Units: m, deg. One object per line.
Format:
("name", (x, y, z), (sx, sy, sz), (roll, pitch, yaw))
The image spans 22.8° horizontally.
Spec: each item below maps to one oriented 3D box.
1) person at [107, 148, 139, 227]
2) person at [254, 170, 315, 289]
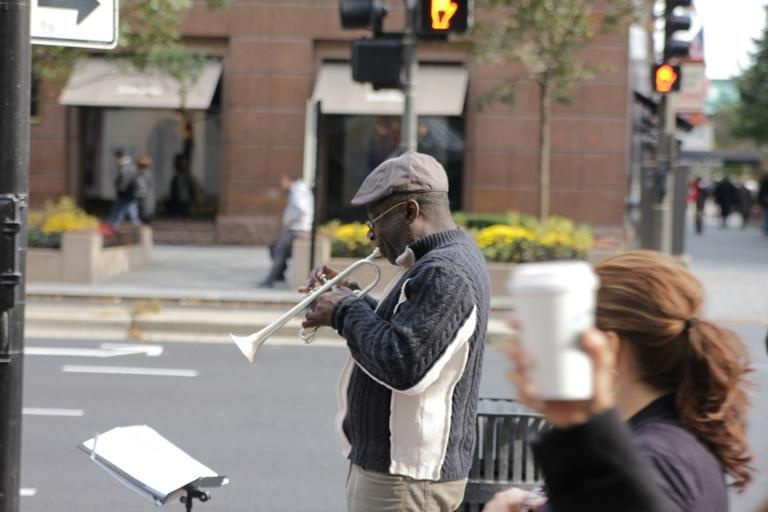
("person", (-5.400, -1.380, 39.622), (0.596, 1.218, 1.745), (-4, 15, -7))
("person", (-1.948, -0.535, 38.255), (0.723, 2.370, 0.845), (10, 4, 13))
